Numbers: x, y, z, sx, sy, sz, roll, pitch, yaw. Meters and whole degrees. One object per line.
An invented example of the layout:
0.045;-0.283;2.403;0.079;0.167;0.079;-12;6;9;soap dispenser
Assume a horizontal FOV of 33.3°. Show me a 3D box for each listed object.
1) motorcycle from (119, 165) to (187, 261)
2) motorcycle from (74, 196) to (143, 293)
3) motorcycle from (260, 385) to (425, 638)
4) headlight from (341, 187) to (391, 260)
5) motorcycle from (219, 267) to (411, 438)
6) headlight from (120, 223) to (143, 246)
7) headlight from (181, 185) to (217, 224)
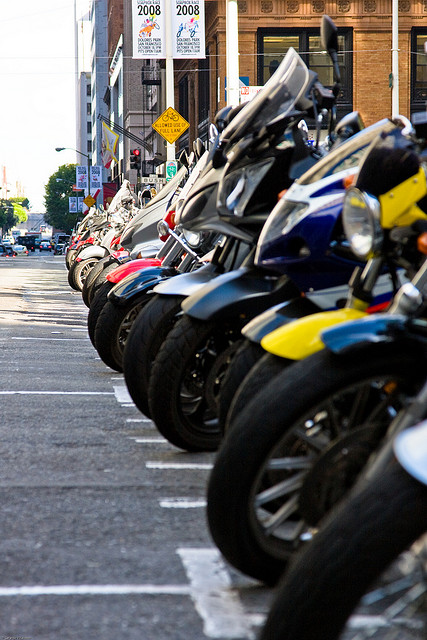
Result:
-0.612;-1.208;7.886;0.976;1.142;0.634;-5;11;-28;motorcycle
-2.533;-1.679;16.016;3.110;1.850;1.074;0;8;-7;motorcycle
0.260;0.376;1.346;0.266;0.404;0.477;3;3;14;motorcycle
0.472;-0.308;2.201;0.148;0.230;0.240;4;3;24;headlight
0.511;0.098;2.933;1.000;0.588;0.406;1;5;-11;motorcycle
-0.949;-0.946;7.900;0.079;0.259;0.184;36;-4;-19;headlight
-0.099;-0.725;4.480;0.195;0.236;0.165;-5;10;-28;headlight
